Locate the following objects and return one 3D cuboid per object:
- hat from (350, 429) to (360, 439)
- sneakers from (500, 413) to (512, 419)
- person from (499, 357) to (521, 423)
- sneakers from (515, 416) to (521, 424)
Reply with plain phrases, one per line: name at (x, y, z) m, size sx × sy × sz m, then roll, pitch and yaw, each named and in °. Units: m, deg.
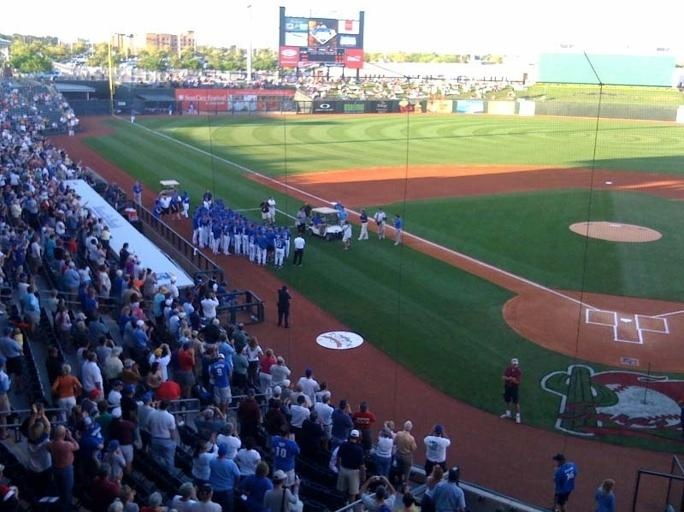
hat at (0.275, 3.722, 15.678) m, size 0.194 × 0.185 × 0.295 m, roll 1°, pitch 13°, yaw -3°
sneakers at (4.431, 4.312, 20.043) m, size 0.316 × 0.134 × 0.116 m, roll 3°, pitch 38°, yaw 11°
person at (4.646, 3.467, 20.128) m, size 0.518 × 1.763 × 1.202 m, roll 4°, pitch 13°, yaw 13°
sneakers at (4.702, 4.357, 19.851) m, size 0.079 × 0.106 × 0.256 m, roll -2°, pitch 9°, yaw 21°
